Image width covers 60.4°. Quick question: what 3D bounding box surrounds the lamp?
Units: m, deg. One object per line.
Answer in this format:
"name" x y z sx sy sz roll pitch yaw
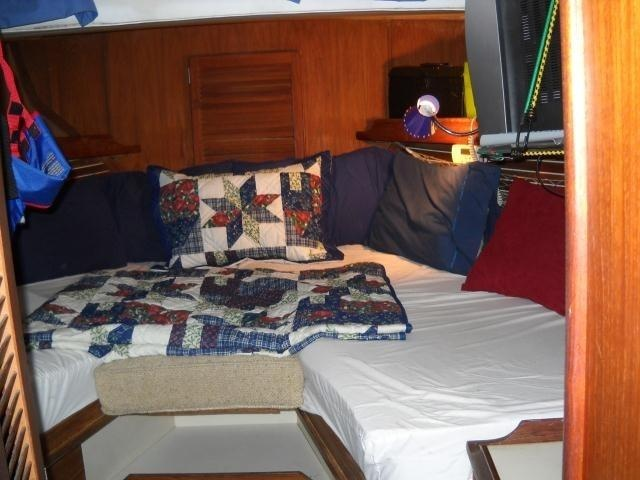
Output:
"lamp" 0.487 -0.461 2.165 0.307 0.154 0.139 16 7 33

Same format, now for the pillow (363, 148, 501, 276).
"pillow" 0.467 -0.097 2.212 0.144 0.494 0.497 16 4 -34

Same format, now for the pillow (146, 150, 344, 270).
"pillow" -0.340 -0.113 2.412 0.727 0.488 0.262 -4 -2 -3

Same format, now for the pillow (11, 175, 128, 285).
"pillow" -1.095 -0.020 2.381 0.508 0.499 0.122 -10 4 -43

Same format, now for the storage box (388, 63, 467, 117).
"storage box" 0.496 -0.693 2.542 0.312 0.310 0.173 14 27 32
